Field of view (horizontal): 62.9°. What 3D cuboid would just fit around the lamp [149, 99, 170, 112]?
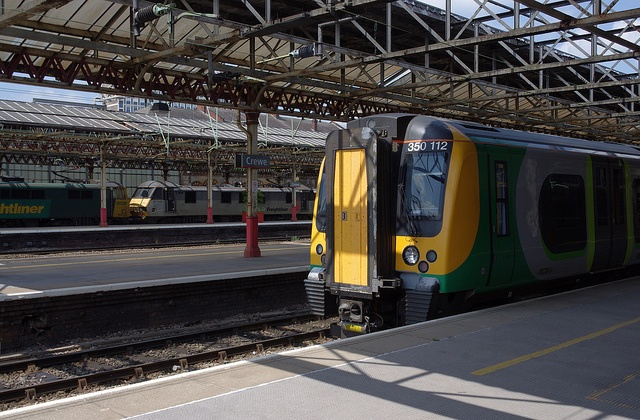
[{"bbox_3d":[-8.958,-5.627,28.888,0.935,0.528,1.090,-1,0,3],"label":"lamp"}]
